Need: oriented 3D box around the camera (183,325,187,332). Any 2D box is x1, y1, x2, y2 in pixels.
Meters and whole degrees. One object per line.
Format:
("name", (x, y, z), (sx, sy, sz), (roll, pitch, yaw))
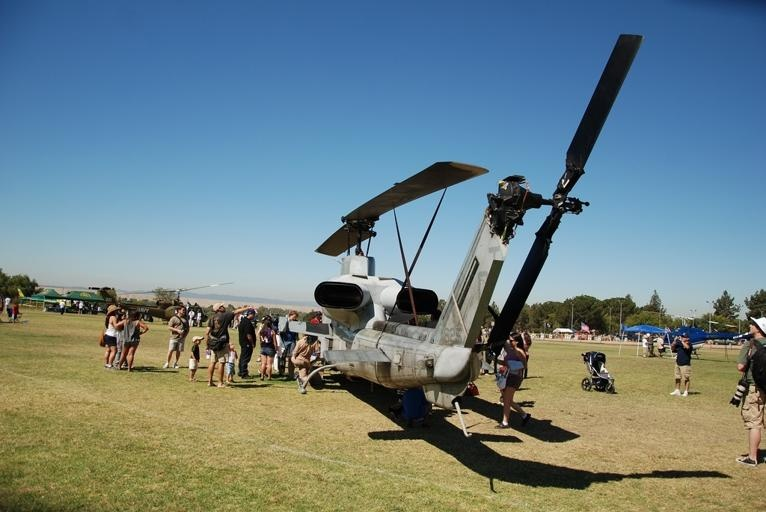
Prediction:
("camera", (-7.054, 2.614, 17.515), (0.079, 0.178, 0.148), (10, 24, 38))
